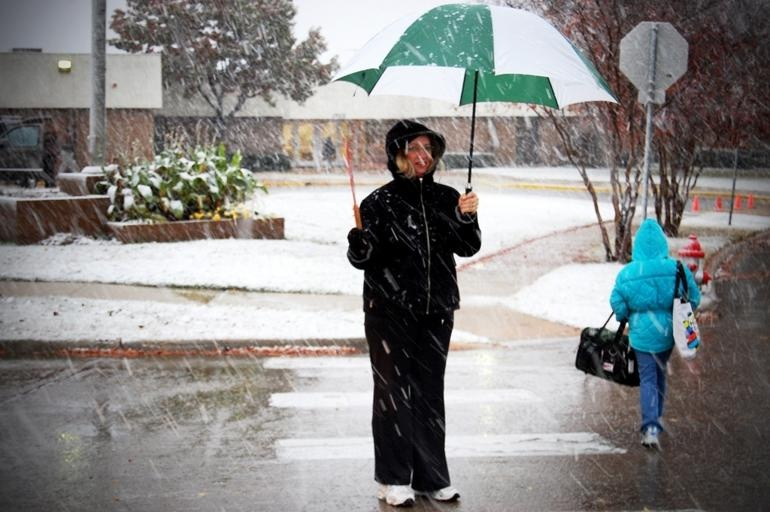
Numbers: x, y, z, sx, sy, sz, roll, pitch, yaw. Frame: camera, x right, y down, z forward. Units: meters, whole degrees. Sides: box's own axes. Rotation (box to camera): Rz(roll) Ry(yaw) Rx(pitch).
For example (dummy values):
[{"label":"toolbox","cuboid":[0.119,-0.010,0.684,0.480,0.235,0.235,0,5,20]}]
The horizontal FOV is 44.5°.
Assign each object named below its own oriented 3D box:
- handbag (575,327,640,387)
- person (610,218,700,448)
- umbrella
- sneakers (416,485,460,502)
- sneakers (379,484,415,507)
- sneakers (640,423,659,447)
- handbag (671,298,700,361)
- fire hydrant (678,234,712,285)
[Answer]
[{"label":"handbag","cuboid":[3.104,1.410,13.076,0.751,0.839,0.402,6,-6,43]},{"label":"person","cuboid":[3.595,1.003,12.701,0.898,2.958,0.804,-8,11,-31]},{"label":"umbrella","cuboid":[1.033,-2.450,11.877,2.995,2.753,3.266,7,13,19]},{"label":"sneakers","cuboid":[0.647,2.902,11.663,0.522,0.269,0.209,-2,7,2]},{"label":"sneakers","cuboid":[0.134,2.921,11.607,0.378,0.213,0.229,-3,-3,35]},{"label":"sneakers","cuboid":[3.563,2.371,12.667,0.237,0.315,0.345,0,11,16]},{"label":"handbag","cuboid":[3.976,0.954,12.504,0.330,0.832,0.327,1,10,18]},{"label":"fire hydrant","cuboid":[5.671,0.074,17.269,0.341,1.042,0.608,-5,20,21]}]
